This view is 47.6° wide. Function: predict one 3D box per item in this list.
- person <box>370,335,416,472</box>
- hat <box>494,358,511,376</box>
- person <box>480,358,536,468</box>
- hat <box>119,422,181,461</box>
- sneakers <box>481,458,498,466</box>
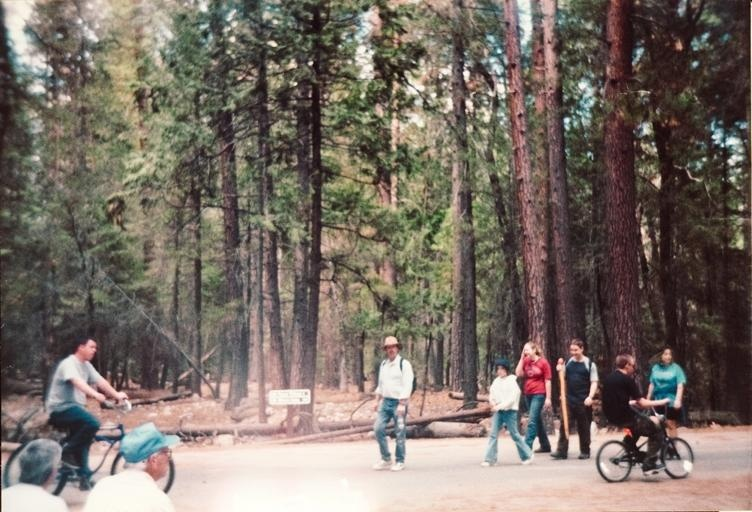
[{"bbox_3d":[0.425,3.683,21.420,0.998,3.330,1.435,-2,-8,-2],"label":"person"},{"bbox_3d":[3.192,2.839,21.625,0.316,0.471,0.437,-4,-16,20],"label":"hat"},{"bbox_3d":[3.301,3.949,21.700,1.107,2.677,0.986,-5,-9,21],"label":"person"},{"bbox_3d":[-4.284,3.481,16.040,0.915,0.468,0.611,-15,18,-35],"label":"hat"},{"bbox_3d":[2.848,5.208,21.540,0.357,0.181,0.151,13,-16,-23],"label":"sneakers"}]
